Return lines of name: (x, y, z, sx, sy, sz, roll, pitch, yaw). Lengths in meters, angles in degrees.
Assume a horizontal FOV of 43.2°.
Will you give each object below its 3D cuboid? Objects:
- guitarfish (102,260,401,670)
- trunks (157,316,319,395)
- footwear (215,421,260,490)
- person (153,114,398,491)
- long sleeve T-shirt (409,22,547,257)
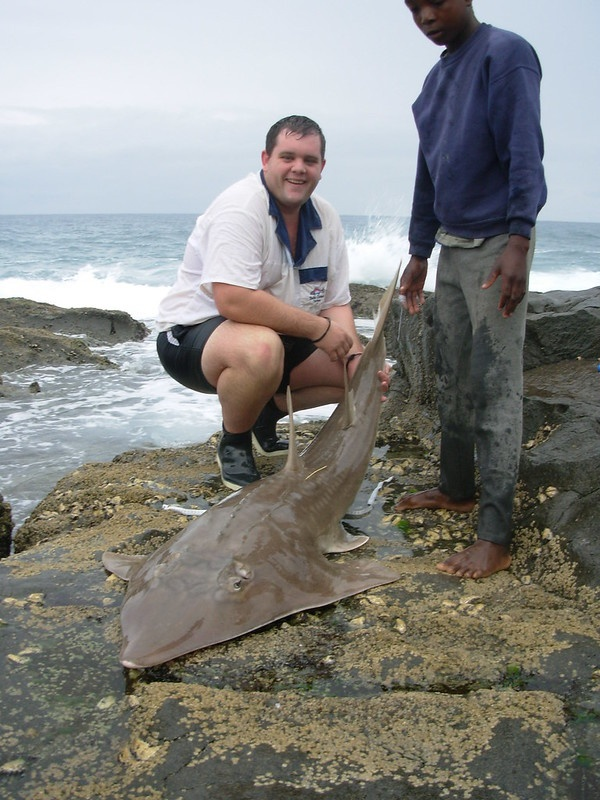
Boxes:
guitarfish: (-0.022, 0.183, 2.811, 0.903, 0.359, 1.761, 9, 24, 26)
trunks: (-0.276, -0.309, 4.223, 0.930, 0.414, 0.658, 17, 26, 34)
footwear: (-0.324, 0.315, 3.822, 0.165, 0.213, 0.392, -2, 11, -17)
person: (-0.222, -0.484, 3.993, 1.290, 1.781, 1.217, -11, 34, -26)
long sleeve T-shirt: (0.770, -1.019, 3.124, 0.479, 0.872, 0.801, -4, 8, -19)
